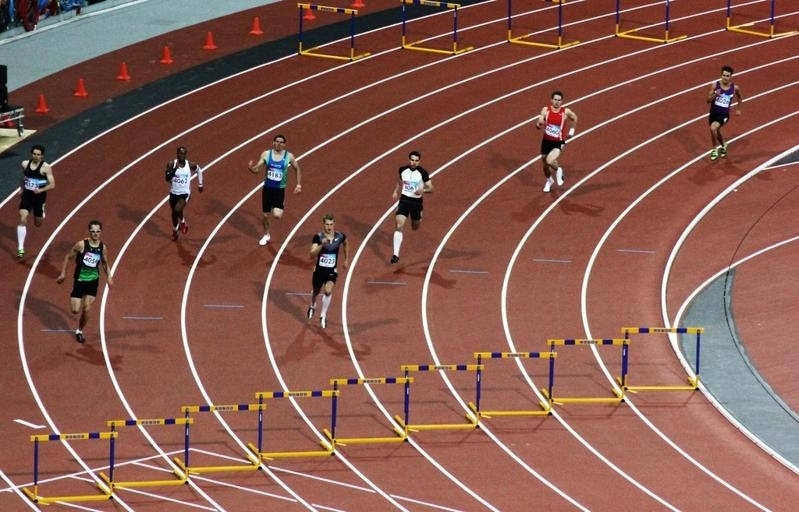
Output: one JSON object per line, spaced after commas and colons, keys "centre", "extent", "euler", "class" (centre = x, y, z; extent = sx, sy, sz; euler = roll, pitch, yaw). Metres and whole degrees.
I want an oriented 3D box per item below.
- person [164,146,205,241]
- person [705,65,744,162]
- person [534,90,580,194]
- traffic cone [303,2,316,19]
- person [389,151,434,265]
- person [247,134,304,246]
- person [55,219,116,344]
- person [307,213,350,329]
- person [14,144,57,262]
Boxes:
{"centre": [-4.109, -1.160, 19.253], "extent": [0.685, 1.768, 1.067], "euler": [3, 4, 9], "class": "person"}
{"centre": [6.903, -3.154, 21.911], "extent": [0.918, 2.201, 1.294], "euler": [1, 4, 6], "class": "person"}
{"centre": [3.169, -2.316, 20.802], "extent": [0.869, 2.095, 1.193], "euler": [1, 4, 12], "class": "person"}
{"centre": [-2.513, -6.794, 28.485], "extent": [0.391, 0.383, 0.354], "euler": [3, -14, -8], "class": "traffic cone"}
{"centre": [0.439, -0.933, 19.096], "extent": [0.727, 2.257, 1.079], "euler": [3, 1, -4], "class": "person"}
{"centre": [-2.419, -1.235, 19.177], "extent": [1.196, 2.139, 0.748], "euler": [-2, 16, -28], "class": "person"}
{"centre": [-5.238, 0.371, 17.145], "extent": [0.963, 2.380, 1.115], "euler": [4, -7, -12], "class": "person"}
{"centre": [-1.202, 0.268, 17.529], "extent": [0.701, 2.025, 1.329], "euler": [4, 12, -7], "class": "person"}
{"centre": [-6.793, -1.045, 18.861], "extent": [0.804, 2.310, 1.099], "euler": [2, -4, -8], "class": "person"}
